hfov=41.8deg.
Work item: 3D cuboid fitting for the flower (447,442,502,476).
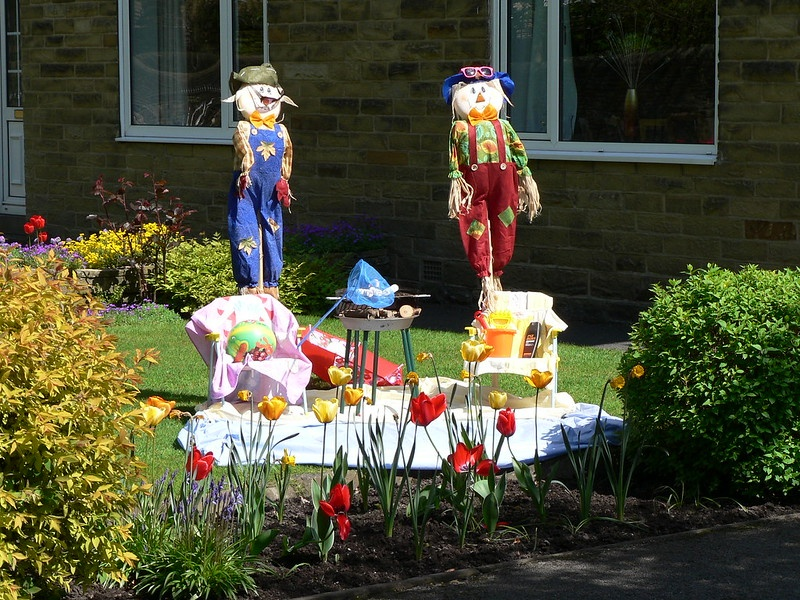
[{"bbox_3d":[0.258,0.622,4.119,0.170,0.072,0.187,5,-11,-2],"label":"flower"}]

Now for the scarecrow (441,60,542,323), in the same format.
[{"bbox_3d":[0.567,-0.706,6.750,0.656,1.548,0.396,-3,13,-12],"label":"scarecrow"}]

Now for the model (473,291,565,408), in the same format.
[{"bbox_3d":[0.714,0.255,6.153,0.678,0.709,0.690,1,-1,9],"label":"model"}]

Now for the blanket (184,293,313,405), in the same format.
[{"bbox_3d":[-0.871,0.212,6.161,0.861,0.659,0.662,-2,6,-28],"label":"blanket"}]

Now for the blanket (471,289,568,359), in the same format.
[{"bbox_3d":[0.716,0.115,6.232,0.497,0.429,0.188,0,-35,4],"label":"blanket"}]

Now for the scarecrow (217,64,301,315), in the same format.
[{"bbox_3d":[-0.984,-0.766,6.873,0.431,1.525,0.409,-2,13,-7],"label":"scarecrow"}]

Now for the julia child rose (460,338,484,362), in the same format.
[{"bbox_3d":[0.282,0.220,4.447,0.103,0.079,0.101,17,22,34],"label":"julia child rose"}]

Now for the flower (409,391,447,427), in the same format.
[{"bbox_3d":[0.092,0.411,4.056,0.162,0.135,0.161,2,5,39],"label":"flower"}]

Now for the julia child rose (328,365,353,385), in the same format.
[{"bbox_3d":[-0.263,0.311,4.333,0.104,0.074,0.093,1,0,-34],"label":"julia child rose"}]
